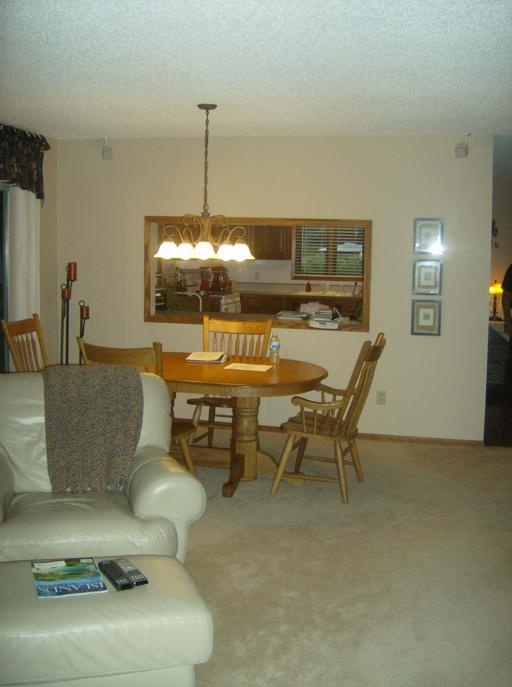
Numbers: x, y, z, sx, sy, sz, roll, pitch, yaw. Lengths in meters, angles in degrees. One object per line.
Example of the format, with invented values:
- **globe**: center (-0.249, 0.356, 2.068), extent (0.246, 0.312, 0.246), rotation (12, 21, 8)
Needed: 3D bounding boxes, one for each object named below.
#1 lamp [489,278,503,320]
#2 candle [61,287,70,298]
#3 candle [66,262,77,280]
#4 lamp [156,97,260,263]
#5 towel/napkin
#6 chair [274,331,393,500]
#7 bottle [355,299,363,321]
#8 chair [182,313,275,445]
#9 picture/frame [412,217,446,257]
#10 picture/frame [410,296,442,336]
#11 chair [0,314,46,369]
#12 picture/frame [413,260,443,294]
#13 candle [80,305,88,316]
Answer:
- **lamp**: center (3.238, -0.572, 7.543), extent (0.152, 0.508, 0.658), rotation (3, 4, 23)
- **candle**: center (-1.590, -0.423, 4.677), extent (0.078, 0.084, 0.049), rotation (1, 4, 4)
- **candle**: center (-1.543, -0.604, 4.664), extent (0.058, 0.146, 0.155), rotation (0, 4, -21)
- **lamp**: center (-0.373, -1.179, 4.006), extent (0.697, 1.029, 0.673), rotation (0, 3, -9)
- **towel/napkin**: center (-0.684, 0.349, 2.316), extent (0.423, 0.504, 0.133), rotation (-2, -15, -13)
- **chair**: center (0.435, 0.456, 3.516), extent (0.703, 0.937, 0.609), rotation (0, 6, 3)
- **bottle**: center (0.905, -0.307, 4.940), extent (0.050, 0.148, 0.116), rotation (7, -7, -7)
- **chair**: center (-0.200, 0.314, 3.994), extent (0.634, 0.956, 0.668), rotation (-1, 1, 1)
- **picture/frame**: center (1.414, -0.883, 4.548), extent (0.332, 0.417, 0.043), rotation (1, 8, 11)
- **picture/frame**: center (1.403, -0.234, 4.589), extent (0.326, 0.407, 0.043), rotation (2, 7, 12)
- **chair**: center (-1.472, -0.001, 3.580), extent (0.235, 0.375, 0.525), rotation (0, 4, -20)
- **picture/frame**: center (1.410, -0.550, 4.566), extent (0.280, 0.355, 0.038), rotation (1, 6, 12)
- **candle**: center (-1.369, -0.256, 4.460), extent (0.062, 0.085, 0.093), rotation (-1, 4, -24)
